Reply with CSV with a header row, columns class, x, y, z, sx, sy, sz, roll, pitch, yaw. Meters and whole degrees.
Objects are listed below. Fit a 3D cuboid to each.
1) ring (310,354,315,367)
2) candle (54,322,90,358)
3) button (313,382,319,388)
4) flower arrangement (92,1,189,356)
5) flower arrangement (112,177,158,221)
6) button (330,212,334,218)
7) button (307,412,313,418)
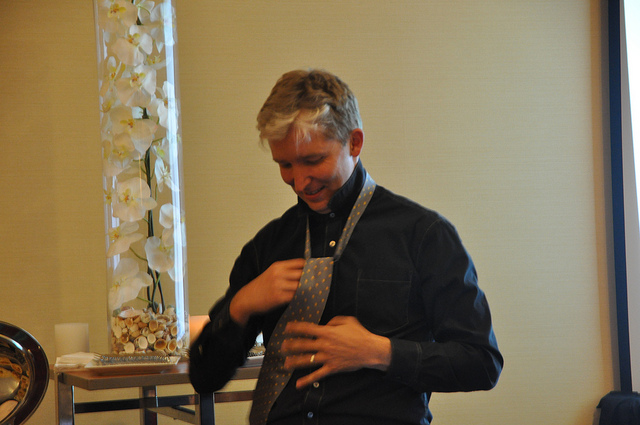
class,x,y,z,sx,sy,sz,roll,pitch,yaw
ring,-0.036,0.683,3.836,0.019,0.055,0.041,1,-3,-7
candle,-1.345,0.695,4.530,0.176,0.175,0.125,2,-3,-21
button,-0.018,0.807,3.886,0.027,0.024,0.004,1,-2,8
flower arrangement,-0.909,-0.188,4.255,0.509,1.817,0.201,2,-2,-17
flower arrangement,-0.941,-0.067,4.147,0.190,0.212,0.099,-7,0,4
button,0.059,0.011,4.012,0.021,0.023,0.005,-3,-2,6
button,-0.046,0.943,3.871,0.025,0.028,0.006,-1,-3,0
